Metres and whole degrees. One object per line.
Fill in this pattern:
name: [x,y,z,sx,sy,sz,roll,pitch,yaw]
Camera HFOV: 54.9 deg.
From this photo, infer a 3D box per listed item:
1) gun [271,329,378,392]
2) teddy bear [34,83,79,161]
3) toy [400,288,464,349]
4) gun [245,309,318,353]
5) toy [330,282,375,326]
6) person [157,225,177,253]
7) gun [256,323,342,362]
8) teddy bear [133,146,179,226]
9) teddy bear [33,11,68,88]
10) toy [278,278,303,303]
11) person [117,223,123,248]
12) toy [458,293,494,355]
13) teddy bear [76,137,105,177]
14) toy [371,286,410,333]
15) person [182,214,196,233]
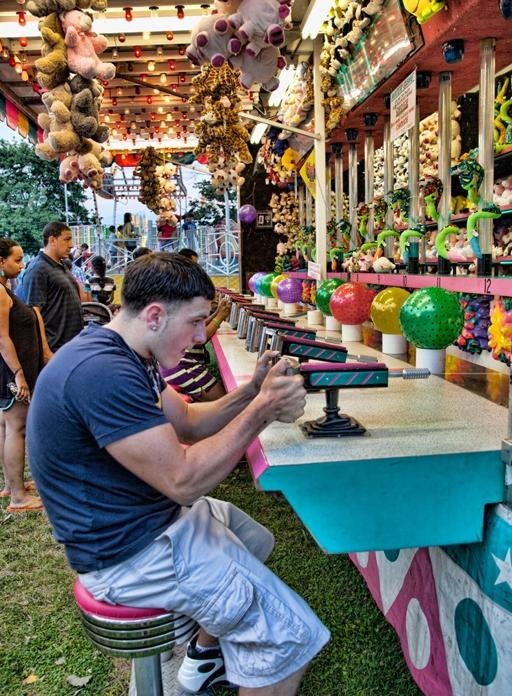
gun: [0.170,0.042,1.107,0.163,0.052,0.170,5,19,-29]
teddy bear: [-1.336,-1.479,3.313,0.269,0.409,0.579,-6,5,-22]
toy: [0.561,-0.085,1.545,0.183,0.204,0.135,-5,5,-7]
gun: [0.088,-0.078,1.886,0.246,0.134,0.189,5,5,-13]
toy: [0.464,-0.210,2.417,0.164,0.220,0.204,-9,7,-43]
person: [-2.451,-3.021,13.760,0.523,0.584,0.963,-5,5,-8]
gun: [0.118,0.002,1.212,0.144,0.067,0.134,12,4,-28]
teddy bear: [-2.032,-3.460,10.177,0.722,1.541,1.657,-5,5,-6]
teddy bear: [-1.248,-1.813,3.012,0.186,0.436,0.330,-6,5,-19]
toy: [0.250,-0.419,3.735,0.192,0.206,0.184,3,-2,1]
person: [-3.814,-3.071,13.879,0.174,0.702,1.176,-5,5,-15]
toy: [0.729,-0.078,1.648,0.074,0.192,0.197,4,-6,-10]
teddy bear: [-1.258,-1.479,3.819,0.182,0.127,0.278,-2,42,4]
toy: [0.517,-0.153,2.020,0.178,0.197,0.174,-4,9,2]
person: [-1.908,-3.566,14.185,0.347,0.589,1.128,-5,5,-7]
